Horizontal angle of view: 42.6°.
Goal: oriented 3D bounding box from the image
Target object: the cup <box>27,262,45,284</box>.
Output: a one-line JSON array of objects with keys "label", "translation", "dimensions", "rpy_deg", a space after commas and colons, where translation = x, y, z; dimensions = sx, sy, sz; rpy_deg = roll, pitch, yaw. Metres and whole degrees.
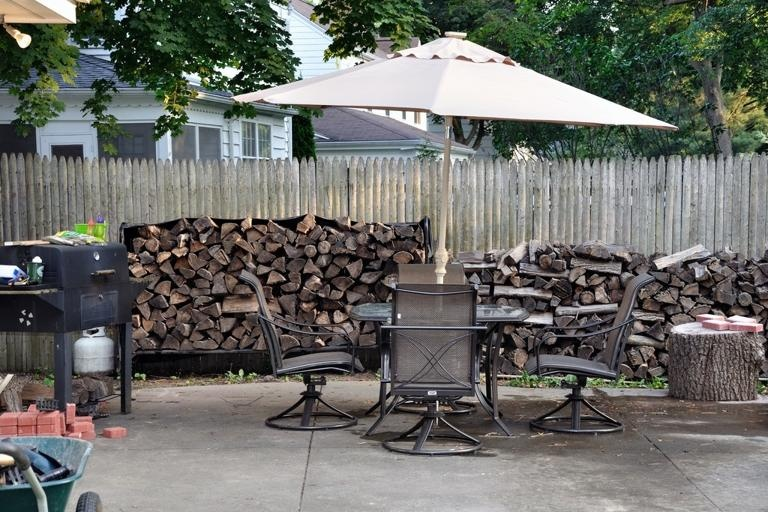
[{"label": "cup", "translation": [-3.556, 0.168, 10.050], "dimensions": [0.196, 0.218, 0.194], "rpy_deg": [0, -5, 0]}]

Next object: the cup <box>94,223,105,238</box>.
[{"label": "cup", "translation": [-3.230, -0.282, 11.144], "dimensions": [0.103, 0.172, 0.297], "rpy_deg": [-1, 1, -11]}]

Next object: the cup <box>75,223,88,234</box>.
[{"label": "cup", "translation": [-3.431, -0.310, 11.161], "dimensions": [0.140, 0.111, 0.474], "rpy_deg": [-1, 1, -17]}]
